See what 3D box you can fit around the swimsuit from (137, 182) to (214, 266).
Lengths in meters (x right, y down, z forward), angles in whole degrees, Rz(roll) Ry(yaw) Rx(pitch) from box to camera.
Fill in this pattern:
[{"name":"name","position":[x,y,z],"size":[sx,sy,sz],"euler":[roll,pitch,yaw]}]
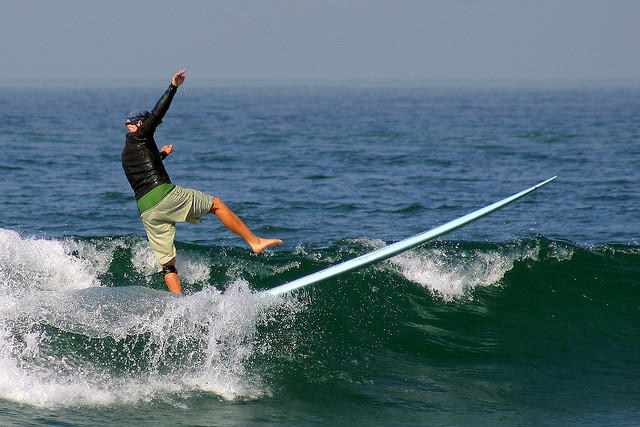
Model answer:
[{"name":"swimsuit","position":[-4.003,0.260,32.514],"size":[1.878,2.277,0.328],"euler":[0,12,-6]}]
